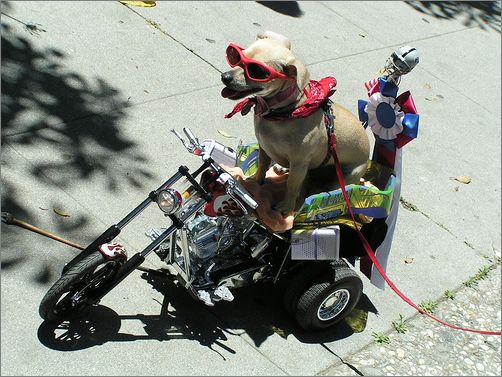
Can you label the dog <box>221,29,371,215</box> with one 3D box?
[{"bbox_3d":[0.381,-0.494,3.919,1.011,1.393,1.104,-40,68,-23],"label":"dog"}]
